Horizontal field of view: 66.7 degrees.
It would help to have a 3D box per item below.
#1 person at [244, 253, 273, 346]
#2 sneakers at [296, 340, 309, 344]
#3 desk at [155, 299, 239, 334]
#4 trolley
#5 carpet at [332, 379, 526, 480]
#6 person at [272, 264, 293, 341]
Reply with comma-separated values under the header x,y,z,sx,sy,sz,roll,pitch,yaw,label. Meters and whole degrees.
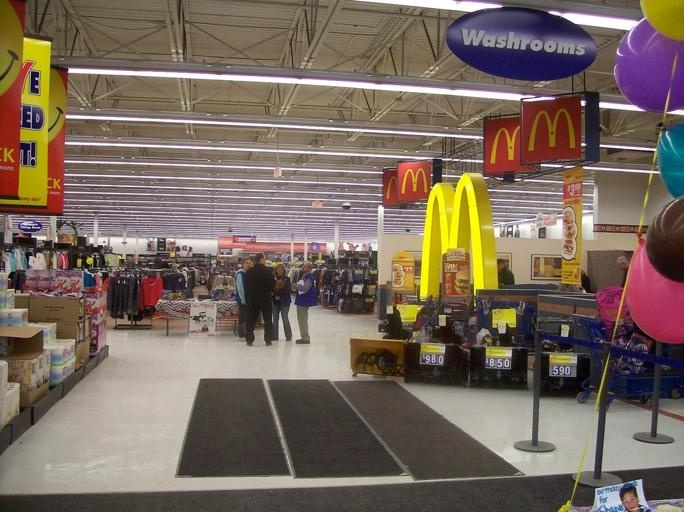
x,y,z,sx,sy,sz,roll,pitch,yaw,label
-1.629,0.844,10.256,0.573,1.821,0.599,1,2,-7,person
-0.796,1.727,10.548,0.264,0.100,0.088,5,-4,-3,sneakers
-3.267,1.346,11.986,1.723,0.853,2.085,1,1,-11,desk
3.746,1.313,6.766,1.675,1.060,0.915,0,2,-29,trolley
0.663,1.861,6.185,1.004,0.071,4.253,0,-3,-9,carpet
-1.224,0.948,10.781,0.420,1.621,0.940,1,2,-7,person
